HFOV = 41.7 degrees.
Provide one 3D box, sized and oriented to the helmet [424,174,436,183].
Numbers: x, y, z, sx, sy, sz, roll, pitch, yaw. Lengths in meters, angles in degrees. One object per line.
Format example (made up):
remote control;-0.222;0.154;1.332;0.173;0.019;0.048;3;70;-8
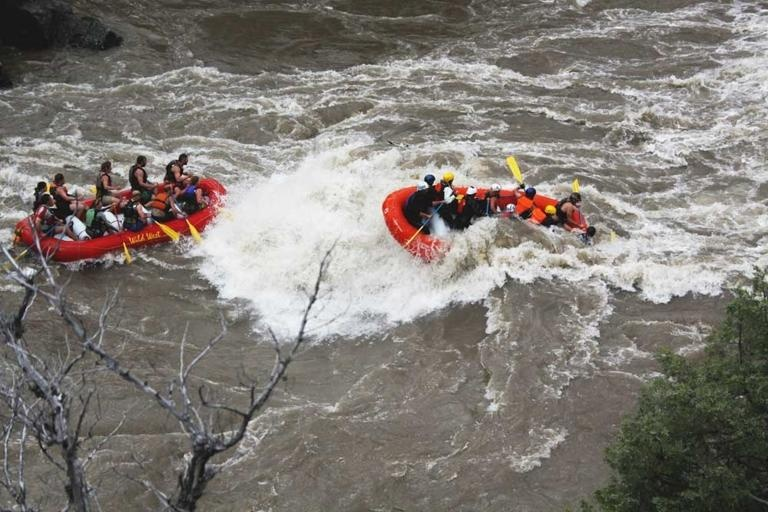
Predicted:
helmet;1.273;-2.143;27.788;0.268;0.190;0.261;-8;-8;21

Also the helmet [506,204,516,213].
helmet;3.520;-1.316;27.815;0.199;0.185;0.243;2;7;1

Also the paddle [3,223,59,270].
paddle;-9.166;-0.227;26.365;1.648;0.407;0.488;-31;20;-16

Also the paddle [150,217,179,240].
paddle;-6.001;-0.690;28.204;1.063;0.306;0.236;39;1;1

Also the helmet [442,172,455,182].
helmet;1.808;-2.182;28.072;0.297;0.277;0.551;1;16;0

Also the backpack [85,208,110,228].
backpack;-7.970;-1.047;27.895;0.503;0.485;0.488;14;42;25

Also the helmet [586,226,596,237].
helmet;5.708;-0.648;27.622;0.231;0.291;0.302;19;-5;-18

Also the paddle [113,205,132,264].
paddle;-7.142;-0.461;27.891;0.252;1.091;1.212;-4;17;-14

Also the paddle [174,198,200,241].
paddle;-5.558;-1.006;28.349;0.265;1.312;0.143;-32;6;30

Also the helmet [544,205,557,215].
helmet;4.632;-1.283;27.862;0.290;0.214;0.202;20;37;-1
